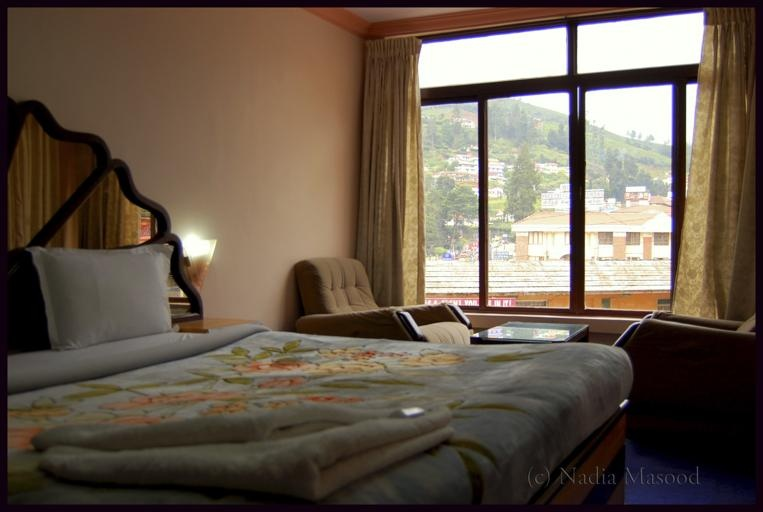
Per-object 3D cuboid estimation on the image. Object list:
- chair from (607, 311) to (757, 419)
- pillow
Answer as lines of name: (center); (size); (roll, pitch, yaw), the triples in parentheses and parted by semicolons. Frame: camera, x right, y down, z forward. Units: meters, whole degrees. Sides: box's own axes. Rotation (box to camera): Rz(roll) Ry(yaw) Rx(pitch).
chair: (1.843, 0.621, 3.322); (0.605, 0.488, 0.643); (3, -12, 23)
pillow: (-1.421, 0.219, 2.717); (0.564, 0.363, 0.113); (-3, -26, -43)
